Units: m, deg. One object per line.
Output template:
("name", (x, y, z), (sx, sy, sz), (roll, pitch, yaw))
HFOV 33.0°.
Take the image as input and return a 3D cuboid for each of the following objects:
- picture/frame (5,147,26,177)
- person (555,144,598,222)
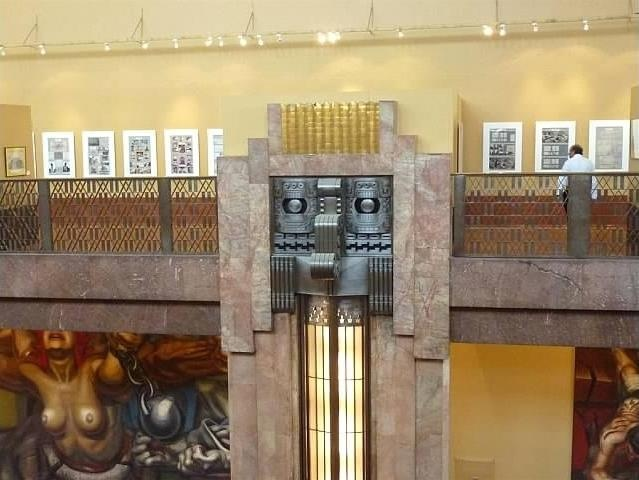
("picture/frame", (-6.437, -1.644, 22.848), (0.034, 0.923, 0.586), (-2, -2, 33))
("person", (5.201, -1.299, 21.625), (0.532, 1.521, 0.488), (3, 43, 21))
